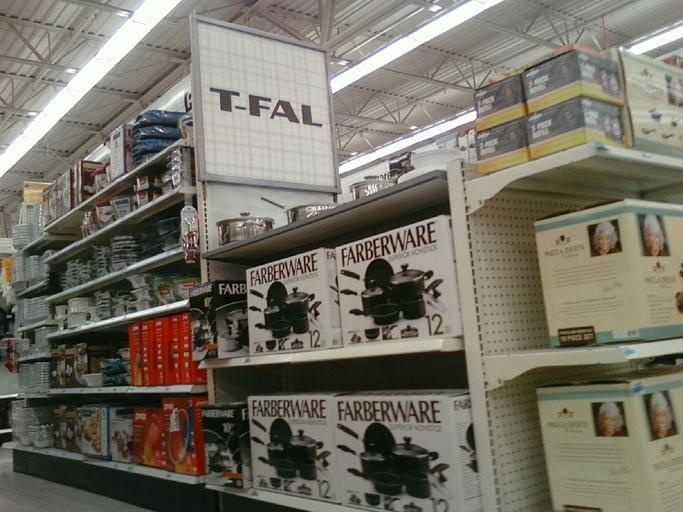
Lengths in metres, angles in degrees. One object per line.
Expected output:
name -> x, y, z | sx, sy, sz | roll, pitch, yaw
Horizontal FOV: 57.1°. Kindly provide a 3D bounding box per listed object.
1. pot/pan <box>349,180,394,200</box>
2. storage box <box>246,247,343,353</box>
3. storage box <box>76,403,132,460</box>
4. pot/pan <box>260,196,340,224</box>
pot/pan -> 0.138, -0.327, 2.986 | 0.161, 0.041, 0.147 | -7, -6, -31
storage box -> -0.217, 0.229, 2.956 | 0.234, 0.366, 0.685 | 9, -16, -42
storage box -> -1.736, 1.305, 4.629 | 0.219, 0.180, 0.710 | 8, -12, -39
pot/pan -> -0.212, -0.244, 3.264 | 0.394, 0.092, 0.196 | -2, -4, 2
